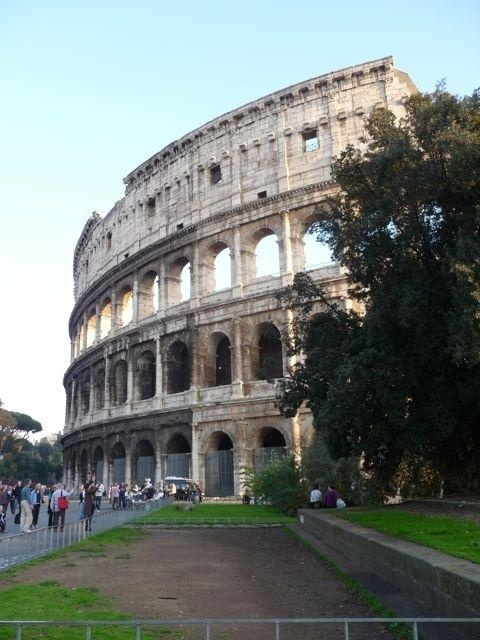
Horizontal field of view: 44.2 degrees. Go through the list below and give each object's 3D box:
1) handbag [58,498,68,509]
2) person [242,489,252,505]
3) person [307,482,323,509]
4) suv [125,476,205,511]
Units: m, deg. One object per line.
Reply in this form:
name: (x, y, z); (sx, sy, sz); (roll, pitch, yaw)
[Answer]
handbag: (-4.817, 5.005, 16.109); (0.256, 0.345, 0.156); (1, -23, -16)
person: (0.347, 7.997, 26.768); (0.383, 0.591, 1.136); (3, -13, 2)
person: (2.401, 5.498, 18.458); (0.409, 0.715, 1.267); (1, -14, 7)
suv: (-3.742, 9.051, 29.101); (3.623, 1.794, 2.220); (-1, -12, -1)
